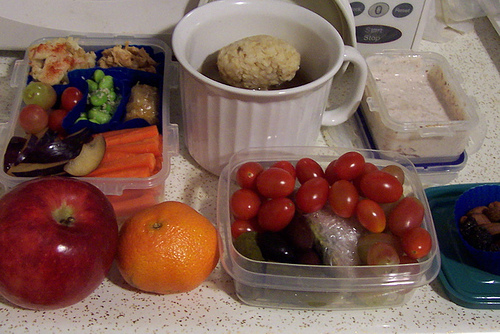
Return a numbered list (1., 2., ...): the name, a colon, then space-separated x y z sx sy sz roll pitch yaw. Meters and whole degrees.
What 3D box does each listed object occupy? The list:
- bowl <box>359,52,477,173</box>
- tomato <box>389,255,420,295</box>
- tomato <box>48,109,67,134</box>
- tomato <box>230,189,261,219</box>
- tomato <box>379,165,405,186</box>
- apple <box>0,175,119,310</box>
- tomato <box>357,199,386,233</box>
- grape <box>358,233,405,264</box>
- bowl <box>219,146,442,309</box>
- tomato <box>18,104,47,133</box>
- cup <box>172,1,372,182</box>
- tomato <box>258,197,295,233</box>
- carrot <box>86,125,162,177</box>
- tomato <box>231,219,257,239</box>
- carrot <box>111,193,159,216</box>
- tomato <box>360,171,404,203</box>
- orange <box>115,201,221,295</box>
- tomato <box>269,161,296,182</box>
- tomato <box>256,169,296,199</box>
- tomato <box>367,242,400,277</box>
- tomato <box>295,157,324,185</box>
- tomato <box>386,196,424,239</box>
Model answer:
1. bowl: 0.417 -0.115 1.151 0.282 0.152 0.355 -5 29 -7
2. tomato: 0.297 0.212 0.835 0.067 0.072 0.063 2 30 10
3. tomato: -0.456 -0.106 0.990 0.042 0.028 0.068 -2 57 -2
4. tomato: -0.009 0.074 0.848 0.059 0.055 0.058 -1 93 2
5. tomato: 0.307 0.009 0.893 0.036 0.038 0.049 15 18 -19
6. apple: -0.369 0.139 0.803 0.219 0.151 0.213 -11 58 -8
7. tomato: 0.237 0.094 0.815 0.047 0.048 0.065 -32 87 4
8. grape: 0.254 0.153 0.812 0.077 0.053 0.046 1 91 6
9. bowl: 0.154 0.108 0.880 0.433 0.177 0.339 -2 57 -2
10. tomato: -0.494 -0.109 0.950 0.063 0.061 0.063 3 99 5
11. cup: 0.016 -0.186 1.047 0.470 0.328 0.366 4 52 0
12. tomato: 0.053 0.094 0.837 0.072 0.049 0.054 -20 59 -13
13. carrot: -0.280 -0.031 0.950 0.135 0.042 0.114 -7 72 6
14. tomato: -0.013 0.126 0.850 0.044 0.032 0.033 9 73 -2
15. carrot: -0.254 0.080 0.940 0.111 0.036 0.034 -13 12 20
16. tomato: 0.264 0.041 0.835 0.073 0.055 0.054 22 50 8
17. orange: -0.177 0.158 0.864 0.189 0.110 0.202 -13 40 -5
18. tomato: 0.069 0.010 0.888 0.043 0.041 0.040 3 27 -14
19. tomato: 0.057 0.033 0.869 0.085 0.065 0.068 1 95 28
20. tomato: 0.260 0.174 0.809 0.063 0.065 0.085 -7 16 18
21. tomato: 0.126 0.006 0.907 0.063 0.049 0.049 -2 14 23
22. tomato: 0.312 0.096 0.855 0.089 0.066 0.067 -8 93 13
